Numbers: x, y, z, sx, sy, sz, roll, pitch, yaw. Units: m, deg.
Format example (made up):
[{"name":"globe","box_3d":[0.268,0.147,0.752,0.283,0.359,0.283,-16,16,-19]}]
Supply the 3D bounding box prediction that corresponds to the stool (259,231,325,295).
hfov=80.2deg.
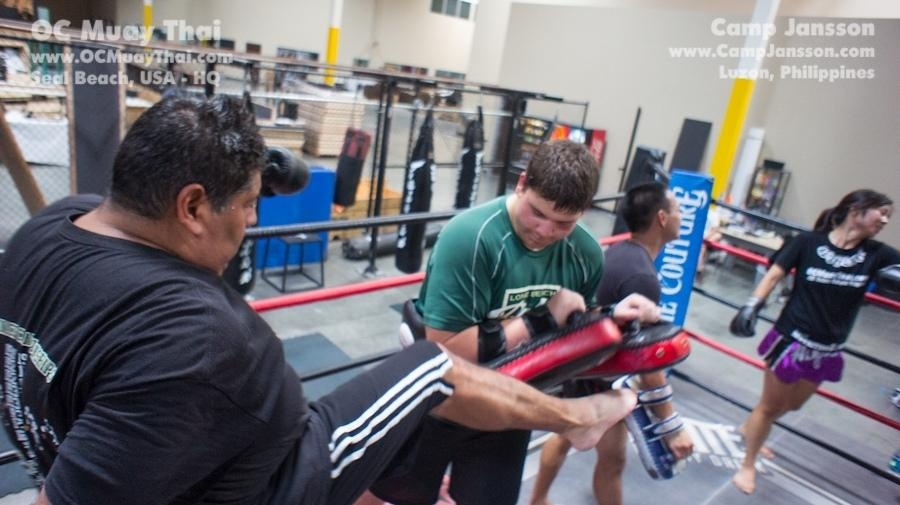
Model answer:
[{"name":"stool","box_3d":[-2.009,0.117,6.813,0.667,0.496,0.648,-2,11,-32]}]

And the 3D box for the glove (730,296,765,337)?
[{"name":"glove","box_3d":[2.042,0.461,3.707,0.090,0.289,0.223,45,15,24]}]

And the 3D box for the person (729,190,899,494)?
[{"name":"person","box_3d":[2.340,0.580,3.644,0.718,2.003,0.949,22,28,35]}]
